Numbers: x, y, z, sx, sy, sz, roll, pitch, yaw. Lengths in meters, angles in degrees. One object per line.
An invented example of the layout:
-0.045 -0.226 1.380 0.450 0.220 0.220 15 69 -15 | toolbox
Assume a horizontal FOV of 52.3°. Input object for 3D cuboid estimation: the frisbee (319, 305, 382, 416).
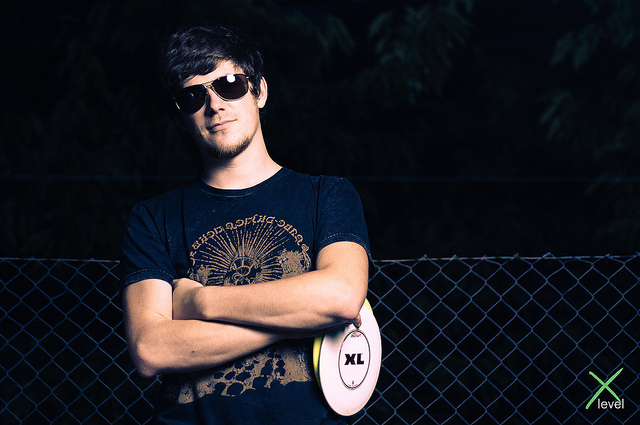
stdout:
0.145 0.906 4.060 0.360 0.679 0.295 -5 11 -38 | frisbee
